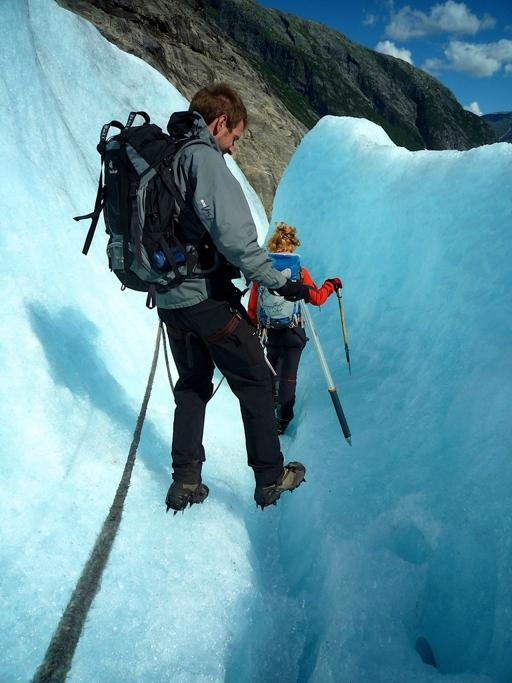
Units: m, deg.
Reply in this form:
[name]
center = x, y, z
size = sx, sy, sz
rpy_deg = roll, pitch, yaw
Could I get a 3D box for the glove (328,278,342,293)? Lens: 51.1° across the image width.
[glove]
center = 0.487, -0.347, 3.349
size = 0.080, 0.101, 0.038
rpy_deg = -8, -3, -32

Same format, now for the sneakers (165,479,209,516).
[sneakers]
center = -0.378, 0.800, 2.869
size = 0.111, 0.130, 0.304
rpy_deg = 5, 13, 17

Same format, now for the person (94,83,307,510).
[person]
center = -0.272, -0.162, 2.730
size = 0.989, 1.927, 0.812
rpy_deg = -2, 4, -12
